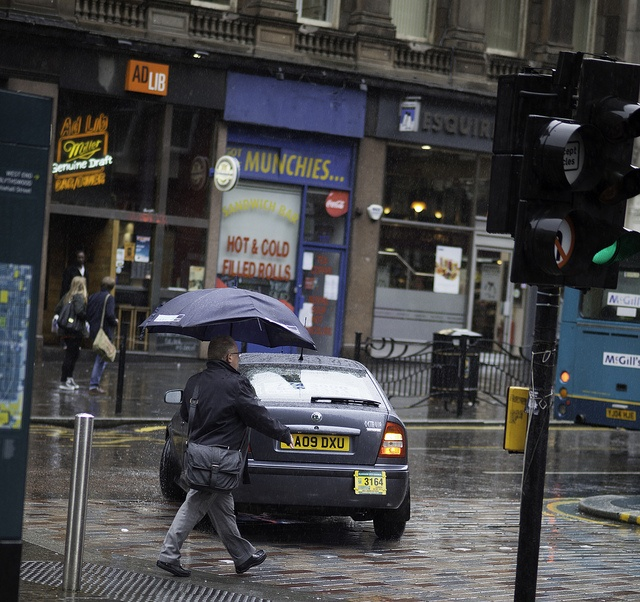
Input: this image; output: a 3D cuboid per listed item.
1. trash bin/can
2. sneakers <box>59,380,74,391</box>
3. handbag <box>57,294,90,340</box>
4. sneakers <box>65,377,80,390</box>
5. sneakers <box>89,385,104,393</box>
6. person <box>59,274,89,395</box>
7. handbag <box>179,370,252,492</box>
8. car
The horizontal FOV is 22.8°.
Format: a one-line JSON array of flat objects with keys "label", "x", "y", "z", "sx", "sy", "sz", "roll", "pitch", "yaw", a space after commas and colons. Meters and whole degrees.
[{"label": "trash bin/can", "x": 2.245, "y": 1.189, "z": 26.621, "sx": 0.809, "sy": 1.582, "sz": 0.955, "roll": 6, "pitch": -3, "yaw": -18}, {"label": "sneakers", "x": -3.805, "y": 1.257, "z": 23.812, "sx": 0.171, "sy": 0.102, "sz": 0.115, "roll": -1, "pitch": 3, "yaw": -12}, {"label": "handbag", "x": -3.791, "y": 0.246, "z": 24.285, "sx": 0.343, "sy": 0.706, "sz": 0.488, "roll": 19, "pitch": -29, "yaw": -37}, {"label": "sneakers", "x": -3.734, "y": 1.222, "z": 23.960, "sx": 0.238, "sy": 0.209, "sz": 0.090, "roll": -1, "pitch": 4, "yaw": -42}, {"label": "sneakers", "x": -3.369, "y": 1.308, "z": 23.864, "sx": 0.235, "sy": 0.134, "sz": 0.092, "roll": 1, "pitch": 6, "yaw": -16}, {"label": "person", "x": -3.774, "y": 0.471, "z": 24.112, "sx": 0.438, "sy": 1.639, "sz": 0.845, "roll": 2, "pitch": 5, "yaw": -10}, {"label": "handbag", "x": -0.929, "y": 1.156, "z": 14.148, "sx": 0.589, "sy": 1.345, "sz": 0.615, "roll": 7, "pitch": -24, "yaw": -13}, {"label": "car", "x": -0.124, "y": 1.330, "z": 16.392, "sx": 1.340, "sy": 1.243, "sz": 2.369, "roll": 2, "pitch": 2, "yaw": -16}]
